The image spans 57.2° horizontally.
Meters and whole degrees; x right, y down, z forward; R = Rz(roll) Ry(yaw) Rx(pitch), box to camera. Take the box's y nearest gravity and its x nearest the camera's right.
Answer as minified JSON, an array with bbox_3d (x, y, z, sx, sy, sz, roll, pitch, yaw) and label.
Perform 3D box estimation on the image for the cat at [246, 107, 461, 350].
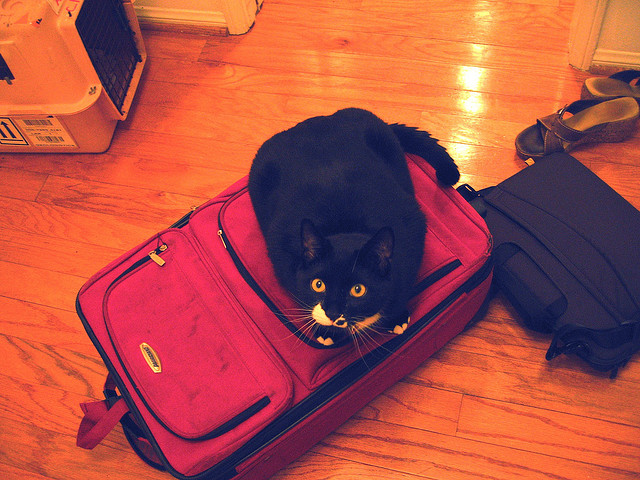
[{"bbox_3d":[0.070,-0.047,1.419,0.482,0.269,0.549,-11,70,-2],"label":"cat"}]
